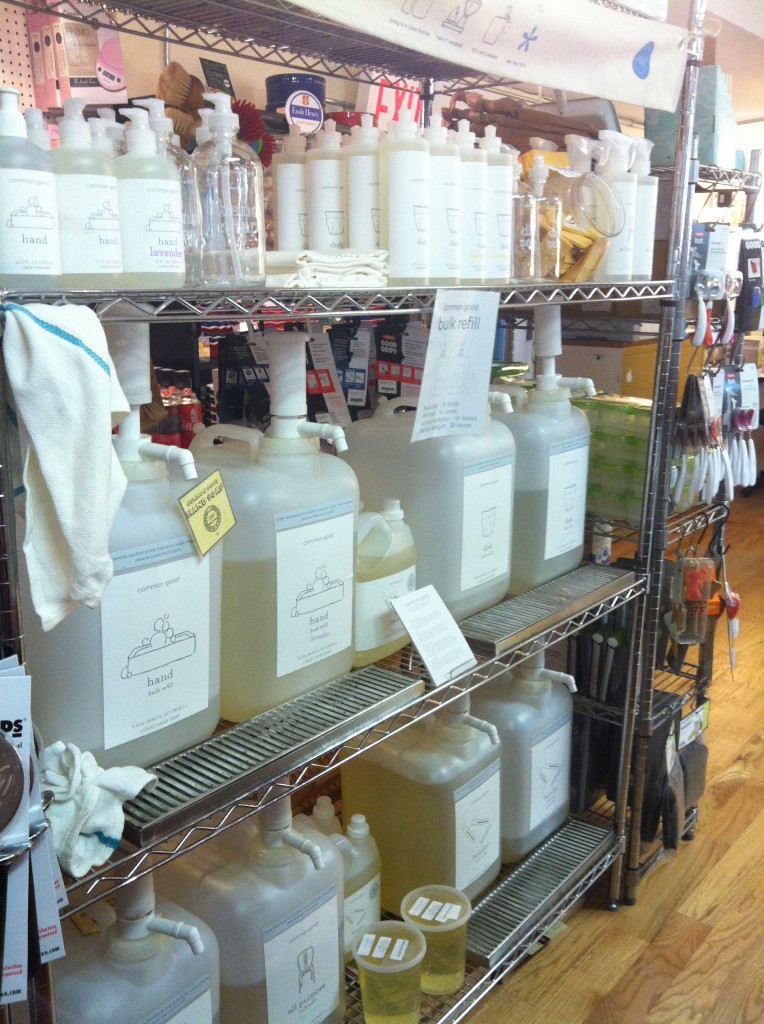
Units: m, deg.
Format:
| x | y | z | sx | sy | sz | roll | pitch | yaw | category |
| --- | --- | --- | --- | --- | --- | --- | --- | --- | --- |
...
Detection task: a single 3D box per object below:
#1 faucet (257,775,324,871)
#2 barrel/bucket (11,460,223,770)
| x | y | z | sx | sy | sz | roll | pitch | yaw | category |
| --- | --- | --- | --- | --- | --- | --- | --- | --- | --- |
| -0.125 | 0.424 | 1.045 | 0.074 | 0.103 | 0.147 | -2 | 12 | -10 | faucet |
| -0.246 | 0.115 | 0.765 | 0.079 | 0.320 | 0.208 | 7 | 14 | 31 | barrel/bucket |
